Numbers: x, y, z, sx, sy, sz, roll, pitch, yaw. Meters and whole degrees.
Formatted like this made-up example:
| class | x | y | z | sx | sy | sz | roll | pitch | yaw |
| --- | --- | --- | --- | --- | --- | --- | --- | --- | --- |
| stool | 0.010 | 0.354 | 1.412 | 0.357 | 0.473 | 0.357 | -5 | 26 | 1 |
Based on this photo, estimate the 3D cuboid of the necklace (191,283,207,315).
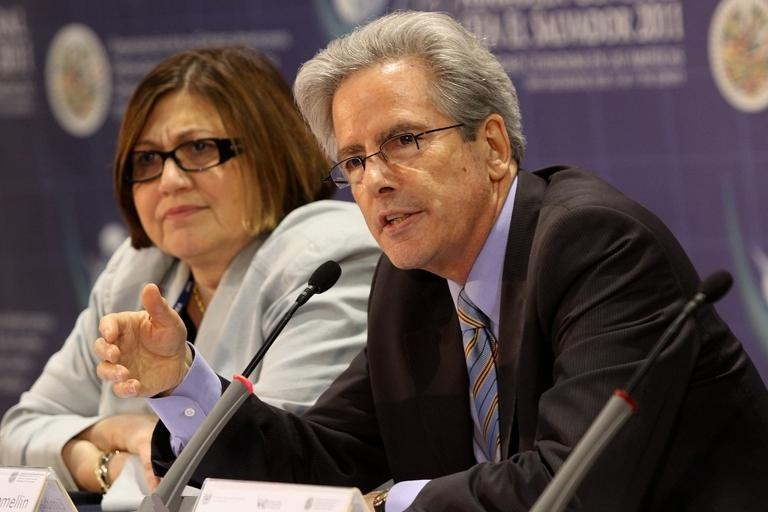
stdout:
| class | x | y | z | sx | sy | sz | roll | pitch | yaw |
| --- | --- | --- | --- | --- | --- | --- | --- | --- | --- |
| necklace | -0.775 | 0.174 | 3.116 | 0.024 | 0.114 | 0.078 | -13 | -1 | 16 |

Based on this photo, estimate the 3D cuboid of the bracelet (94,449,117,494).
| class | x | y | z | sx | sy | sz | roll | pitch | yaw |
| --- | --- | --- | --- | --- | --- | --- | --- | --- | --- |
| bracelet | -1.031 | 0.781 | 2.751 | 0.042 | 0.120 | 0.108 | 2 | 4 | 31 |
